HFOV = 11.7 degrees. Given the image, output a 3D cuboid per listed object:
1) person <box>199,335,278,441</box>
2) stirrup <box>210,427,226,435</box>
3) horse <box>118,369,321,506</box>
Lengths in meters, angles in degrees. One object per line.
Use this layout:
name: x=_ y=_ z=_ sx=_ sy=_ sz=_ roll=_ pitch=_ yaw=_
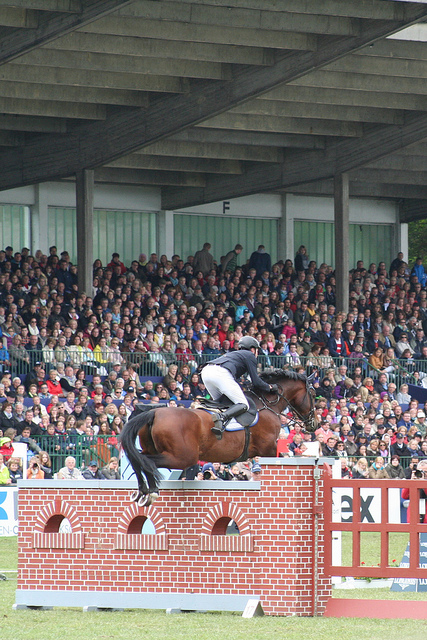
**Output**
person: x=0.338 y=0.852 z=24.779 sx=0.810 sy=1.328 sz=0.432 roll=12 pitch=-14 yaw=-30
stirrup: x=0.057 y=1.314 z=24.120 sx=0.092 sy=0.078 sz=0.105 roll=8 pitch=-10 yaw=-15
horse: x=0.076 y=1.489 z=24.278 sx=1.563 sy=1.616 sz=2.138 roll=-2 pitch=1 yaw=-27
